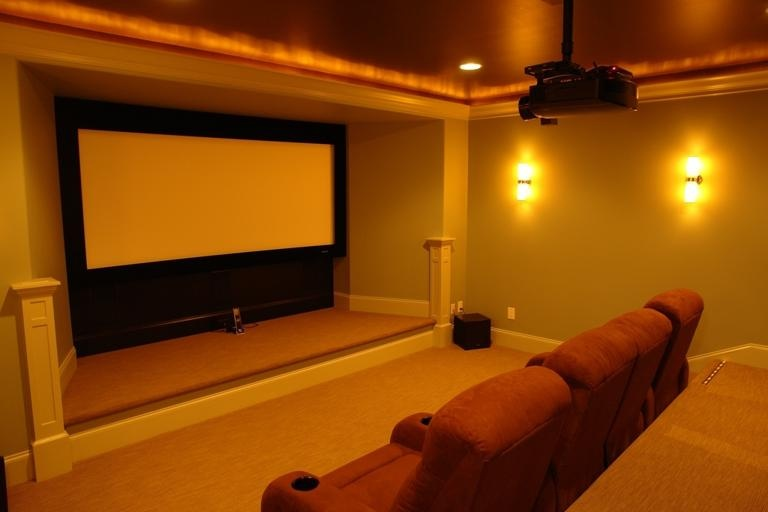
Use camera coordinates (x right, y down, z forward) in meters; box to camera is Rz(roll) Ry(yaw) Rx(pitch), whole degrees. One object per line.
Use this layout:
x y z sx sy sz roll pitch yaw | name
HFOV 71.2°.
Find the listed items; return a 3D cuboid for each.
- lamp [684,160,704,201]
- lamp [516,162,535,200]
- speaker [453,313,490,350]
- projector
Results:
3.090 -0.773 5.397 0.131 0.465 0.118 10 19 43 | lamp
1.668 -0.874 6.356 0.192 0.432 0.089 0 10 10 | lamp
1.108 0.939 6.848 0.443 0.417 0.446 -1 0 -14 | speaker
1.314 -1.107 3.748 0.647 0.296 0.406 5 11 40 | projector
